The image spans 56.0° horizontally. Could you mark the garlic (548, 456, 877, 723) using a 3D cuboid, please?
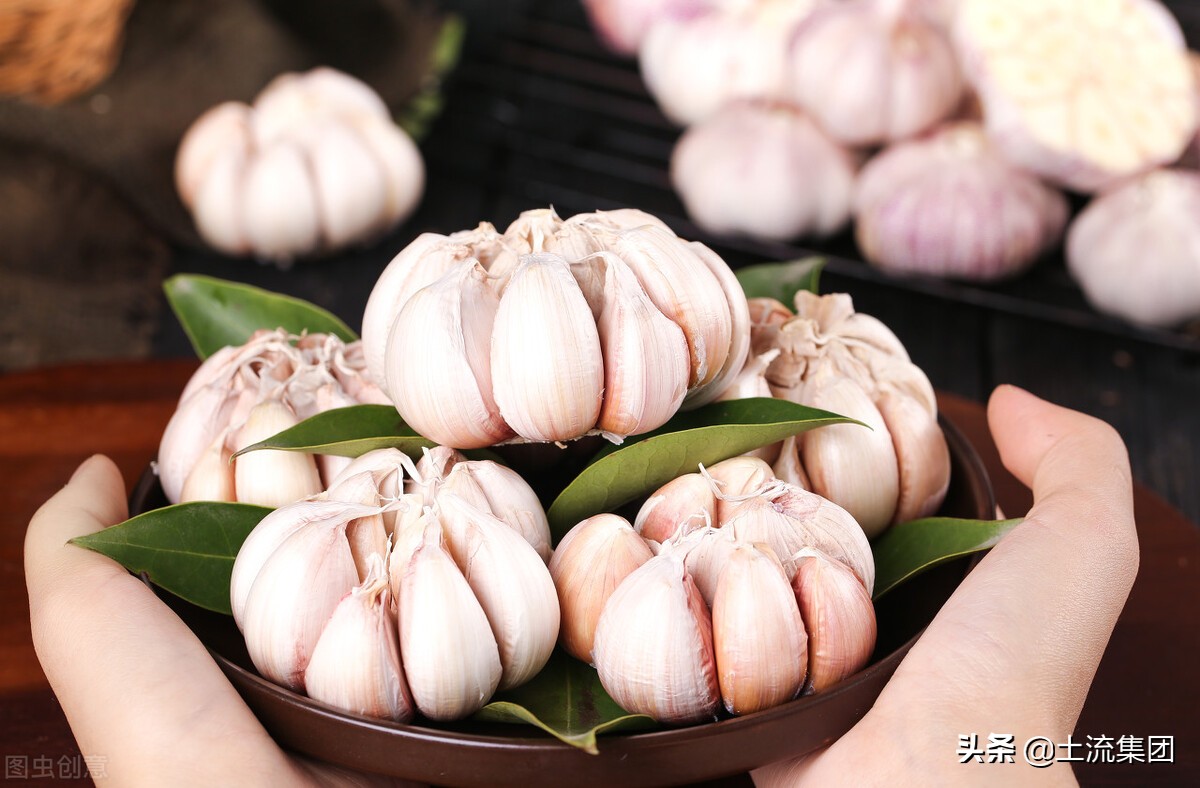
[{"bbox_3d":[0.109,0.196,1.080,0.221,0.165,0.267,-19,24,-17],"label":"garlic"}]

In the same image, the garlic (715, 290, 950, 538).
[{"bbox_3d":[0.256,0.048,1.330,0.211,0.117,0.262,-20,69,-20],"label":"garlic"}]
